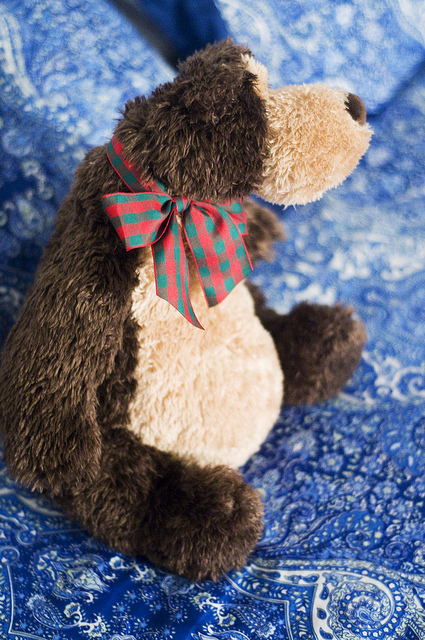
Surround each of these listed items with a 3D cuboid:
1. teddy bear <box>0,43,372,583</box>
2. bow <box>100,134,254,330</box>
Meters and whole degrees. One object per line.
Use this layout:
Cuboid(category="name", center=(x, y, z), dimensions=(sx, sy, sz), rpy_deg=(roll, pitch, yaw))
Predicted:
Cuboid(category="teddy bear", center=(-0.059, -0.002, 1.121), dimensions=(0.500, 0.634, 0.690), rpy_deg=(12, 33, 19))
Cuboid(category="bow", center=(-0.049, -0.122, 1.066), dimensions=(0.238, 0.182, 0.247), rpy_deg=(5, 67, -4))
